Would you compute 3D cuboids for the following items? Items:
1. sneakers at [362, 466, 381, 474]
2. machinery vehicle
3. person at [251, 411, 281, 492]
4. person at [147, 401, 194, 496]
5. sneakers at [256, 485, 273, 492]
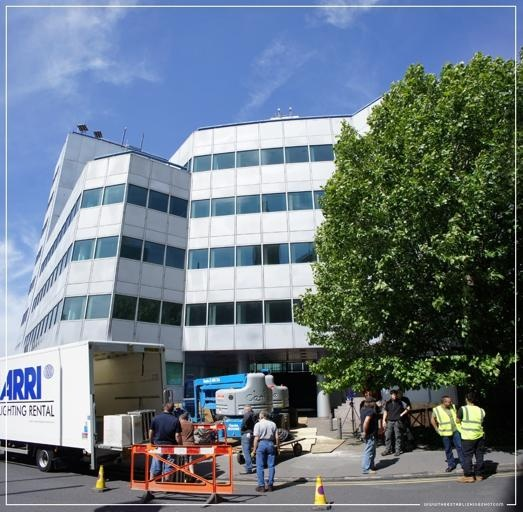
[{"bbox_3d":[2.700,5.228,13.002,0.372,0.159,0.147,10,-15,-43],"label":"sneakers"},{"bbox_3d":[-1.110,5.456,19.506,2.169,1.903,4.502,6,-14,-26],"label":"machinery vehicle"},{"bbox_3d":[0.112,4.515,12.431,0.569,1.719,0.800,-4,-16,-1],"label":"person"},{"bbox_3d":[-2.194,4.254,12.235,0.737,1.739,1.082,-2,-16,-10],"label":"person"},{"bbox_3d":[0.084,5.226,11.946,0.371,0.173,0.134,-3,-15,32],"label":"sneakers"}]
